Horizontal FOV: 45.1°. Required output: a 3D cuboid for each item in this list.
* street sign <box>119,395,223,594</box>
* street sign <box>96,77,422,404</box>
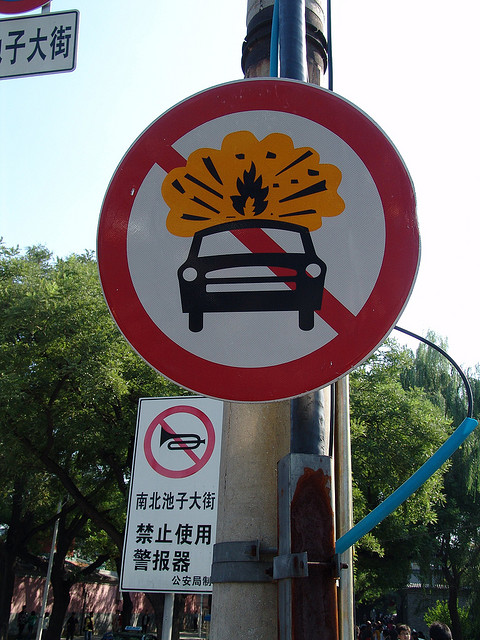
[{"bbox_3d":[-0.643,1.631,5.584,0.972,1.818,0.635,-1,-26,9],"label":"street sign"},{"bbox_3d":[0.022,-0.180,1.264,0.722,0.900,0.009,-3,-26,6],"label":"street sign"}]
